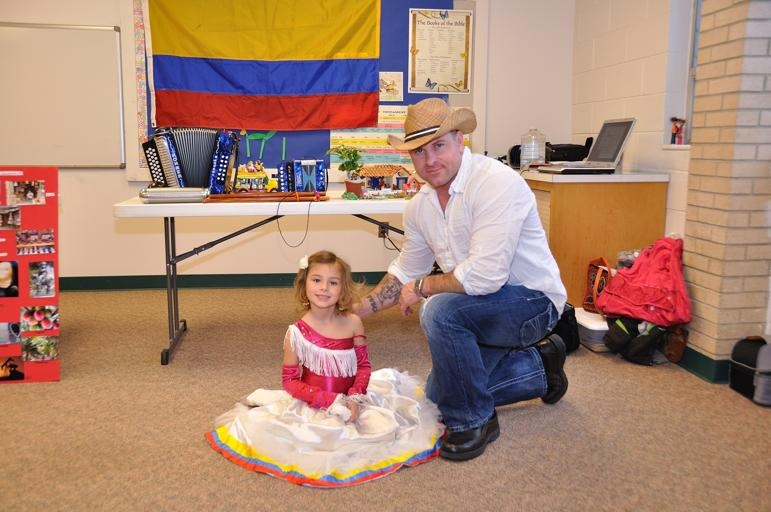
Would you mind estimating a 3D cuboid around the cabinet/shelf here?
[{"bbox_3d":[1.798,-0.262,4.739,0.866,1.027,1.111,2,20,23],"label":"cabinet/shelf"}]

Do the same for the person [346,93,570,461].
[{"bbox_3d":[0.468,0.038,3.088,0.928,1.692,0.746,-13,20,-33],"label":"person"}]

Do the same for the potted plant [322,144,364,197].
[{"bbox_3d":[-0.291,-0.598,4.158,0.295,0.360,0.233,1,12,10],"label":"potted plant"}]

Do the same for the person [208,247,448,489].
[{"bbox_3d":[-0.289,0.498,3.109,1.282,0.956,1.105,-1,5,-29],"label":"person"}]

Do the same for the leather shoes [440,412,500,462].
[{"bbox_3d":[0.426,0.906,2.933,0.147,0.140,0.331,1,0,40],"label":"leather shoes"}]

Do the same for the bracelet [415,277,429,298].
[{"bbox_3d":[0.171,0.162,2.962,0.093,0.104,0.066,-6,5,-23],"label":"bracelet"}]

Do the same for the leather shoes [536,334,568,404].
[{"bbox_3d":[0.920,0.618,3.272,0.146,0.403,0.158,12,19,43],"label":"leather shoes"}]
